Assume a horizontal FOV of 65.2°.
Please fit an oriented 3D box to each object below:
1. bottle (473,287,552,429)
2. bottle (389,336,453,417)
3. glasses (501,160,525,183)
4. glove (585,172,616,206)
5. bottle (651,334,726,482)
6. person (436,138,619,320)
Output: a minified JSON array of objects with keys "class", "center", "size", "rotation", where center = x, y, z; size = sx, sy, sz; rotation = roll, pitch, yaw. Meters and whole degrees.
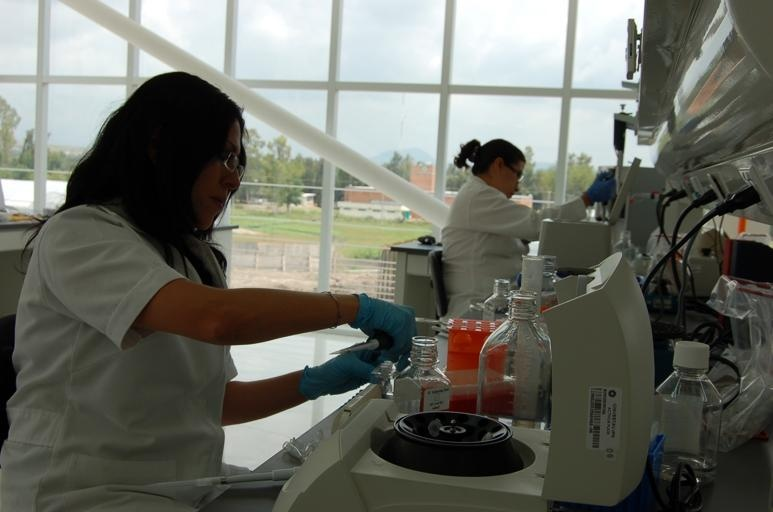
[{"class":"bottle","center":[0.254,0.205,1.207],"size":[0.139,0.240,0.081],"rotation":[2,1,8]},{"class":"bottle","center":[0.073,0.232,1.181],"size":[0.080,0.123,0.100],"rotation":[2,1,40]},{"class":"glasses","center":[0.692,-0.466,3.305],"size":[0.032,0.106,0.102],"rotation":[-12,-9,26]},{"class":"glove","center":[1.122,-0.374,3.191],"size":[0.149,0.186,0.388],"rotation":[2,0,18]},{"class":"bottle","center":[0.559,0.285,1.123],"size":[0.105,0.270,0.063],"rotation":[2,1,26]},{"class":"person","center":[0.697,-0.171,3.221],"size":[0.802,0.850,0.602],"rotation":[2,1,7]}]
